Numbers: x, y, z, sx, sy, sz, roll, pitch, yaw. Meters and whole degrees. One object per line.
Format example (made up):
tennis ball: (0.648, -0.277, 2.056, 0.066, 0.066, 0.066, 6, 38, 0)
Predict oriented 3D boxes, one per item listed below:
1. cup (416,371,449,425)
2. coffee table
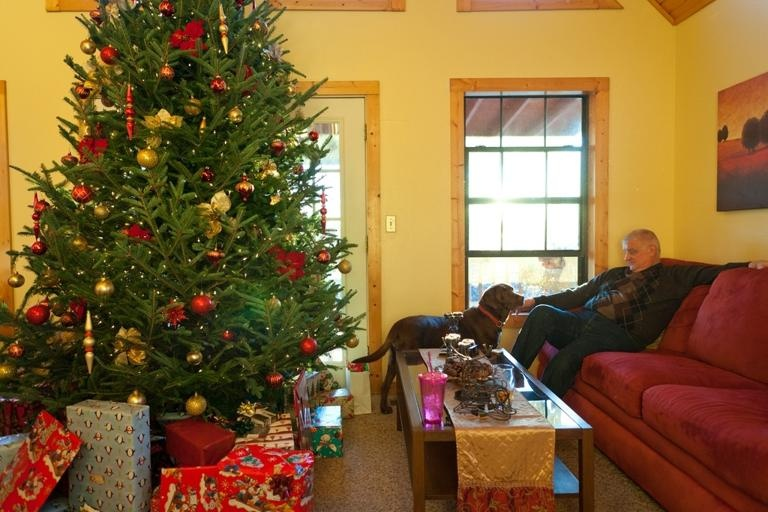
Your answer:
cup: (0.262, 0.744, 3.419, 0.135, 0.228, 0.114, -3, 1, 0)
coffee table: (0.616, 0.997, 3.723, 1.054, 0.690, 0.957, -3, 1, 0)
